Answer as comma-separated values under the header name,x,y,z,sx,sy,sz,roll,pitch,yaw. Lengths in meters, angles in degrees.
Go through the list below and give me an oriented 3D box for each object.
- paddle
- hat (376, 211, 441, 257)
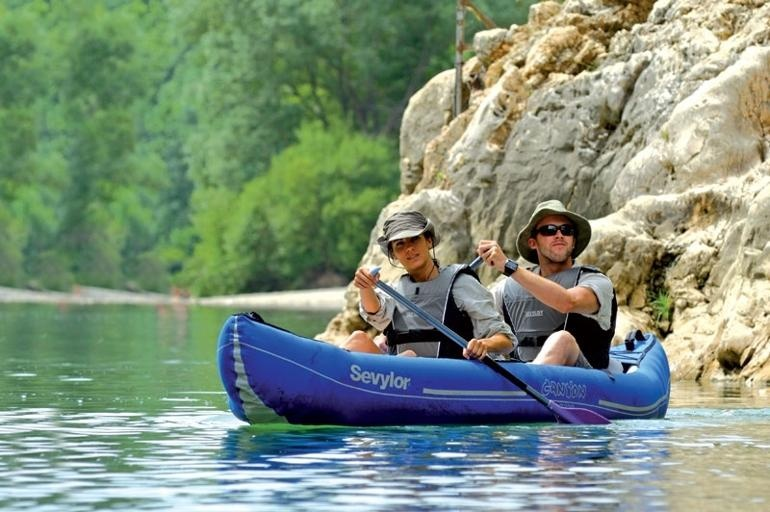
name,x,y,z,sx,sy,sz,roll,pitch,yaw
paddle,1.314,1.186,18.477,2.723,0.276,0.403,38,-4,-3
hat,0.273,-0.341,18.644,0.525,0.371,0.718,-12,-32,4
